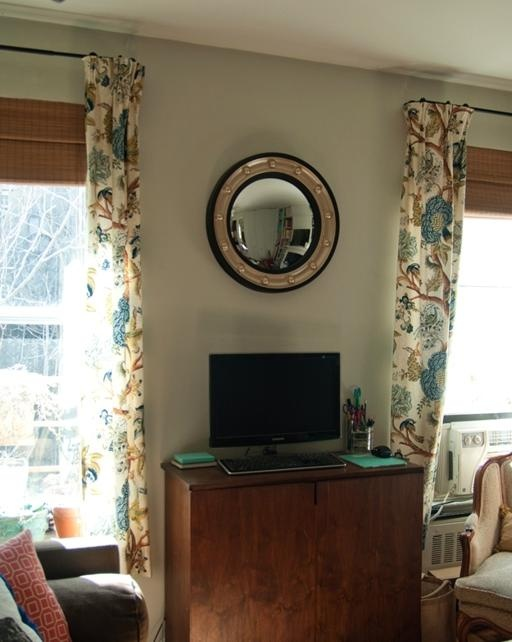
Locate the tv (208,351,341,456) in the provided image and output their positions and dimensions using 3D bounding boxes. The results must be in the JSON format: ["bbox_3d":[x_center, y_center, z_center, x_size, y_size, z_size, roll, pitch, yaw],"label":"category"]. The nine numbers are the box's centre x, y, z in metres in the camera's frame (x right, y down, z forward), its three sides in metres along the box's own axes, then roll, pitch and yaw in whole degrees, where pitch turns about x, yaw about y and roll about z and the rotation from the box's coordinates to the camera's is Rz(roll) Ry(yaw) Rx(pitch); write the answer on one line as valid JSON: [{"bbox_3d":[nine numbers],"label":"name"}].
[{"bbox_3d":[0.064,0.336,2.400,0.462,0.322,0.036,0,2,-19],"label":"tv"}]

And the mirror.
[{"bbox_3d":[0.046,-0.435,2.559,0.662,0.653,0.091,-1,1,-16],"label":"mirror"}]

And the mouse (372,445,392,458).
[{"bbox_3d":[0.535,0.557,2.444,0.046,0.028,0.059,5,-9,-22],"label":"mouse"}]
